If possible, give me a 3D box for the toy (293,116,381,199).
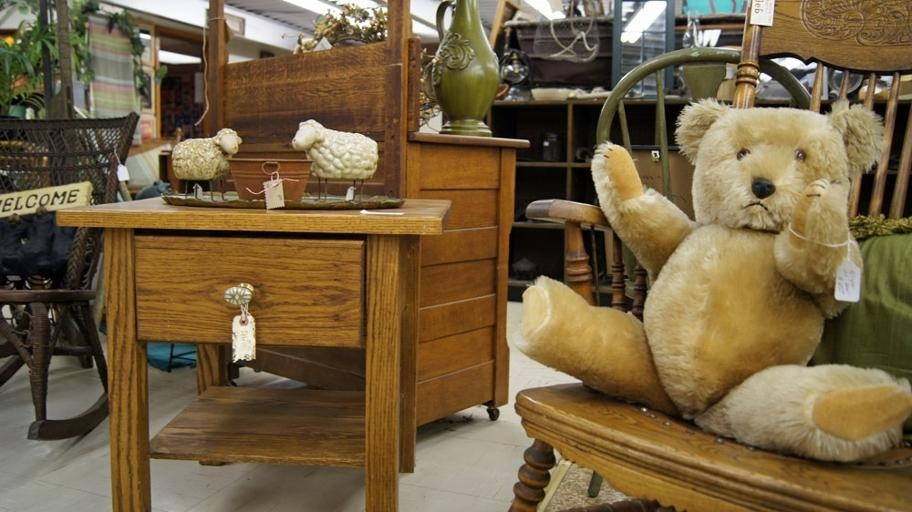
[{"bbox_3d":[-0.365,-0.312,2.215,0.314,0.181,0.163,10,12,-2],"label":"toy"}]

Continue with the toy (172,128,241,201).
[{"bbox_3d":[-0.805,-0.330,2.268,0.255,0.150,0.151,1,11,25],"label":"toy"}]
